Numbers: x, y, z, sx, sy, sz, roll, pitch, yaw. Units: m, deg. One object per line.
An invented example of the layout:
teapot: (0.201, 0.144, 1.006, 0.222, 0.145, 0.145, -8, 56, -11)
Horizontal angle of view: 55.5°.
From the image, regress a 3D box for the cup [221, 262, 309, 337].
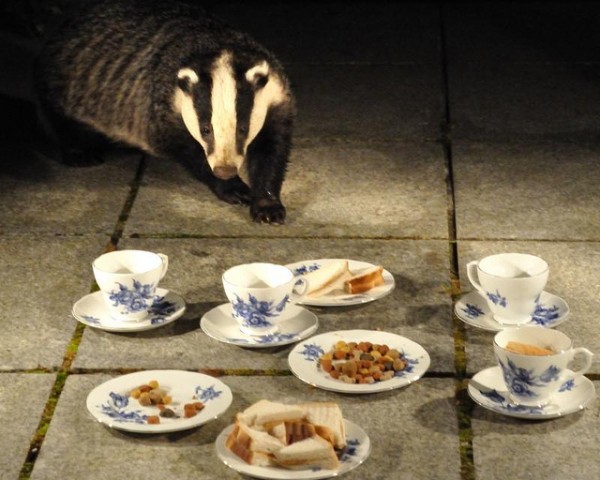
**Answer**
cup: (-0.068, 0.175, 1.375, 0.217, 0.132, 0.089, 4, 77, -8)

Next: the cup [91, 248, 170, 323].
cup: (-0.432, 0.149, 1.441, 0.182, 0.169, 0.091, -5, 81, -7)

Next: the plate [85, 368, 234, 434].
plate: (-0.278, 0.312, 1.104, 0.257, 0.018, 0.229, 12, 17, 26)

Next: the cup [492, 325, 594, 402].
cup: (0.476, 0.221, 1.142, 0.260, 0.113, 0.168, 4, 18, 18)

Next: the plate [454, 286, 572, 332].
plate: (0.512, 0.179, 1.395, 0.255, 0.036, 0.215, 3, 14, 19)

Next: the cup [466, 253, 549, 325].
cup: (0.521, 0.136, 1.398, 0.252, 0.115, 0.177, 7, 8, 22)
